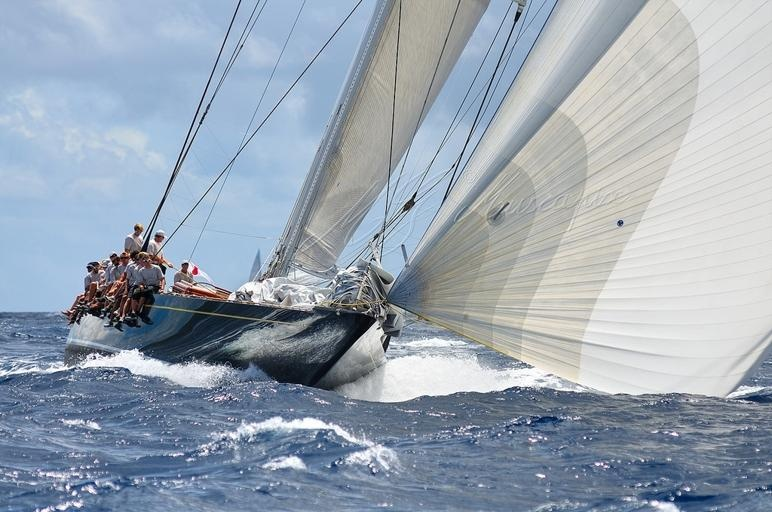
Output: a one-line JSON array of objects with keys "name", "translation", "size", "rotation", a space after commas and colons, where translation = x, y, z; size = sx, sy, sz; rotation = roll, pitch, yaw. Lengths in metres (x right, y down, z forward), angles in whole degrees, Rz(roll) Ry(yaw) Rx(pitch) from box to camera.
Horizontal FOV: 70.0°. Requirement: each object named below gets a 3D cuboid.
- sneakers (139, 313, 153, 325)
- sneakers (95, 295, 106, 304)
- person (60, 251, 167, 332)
[{"name": "sneakers", "translation": [-4.465, 1.176, 10.357], "size": [0.373, 0.126, 0.130], "rotation": [17, 13, 41]}, {"name": "sneakers", "translation": [-6.092, 0.928, 11.861], "size": [0.181, 0.186, 0.529], "rotation": [2, -14, -22]}, {"name": "person", "translation": [-5.155, 0.764, 10.988], "size": [3.165, 1.109, 0.996], "rotation": [-26, -18, 36]}]
